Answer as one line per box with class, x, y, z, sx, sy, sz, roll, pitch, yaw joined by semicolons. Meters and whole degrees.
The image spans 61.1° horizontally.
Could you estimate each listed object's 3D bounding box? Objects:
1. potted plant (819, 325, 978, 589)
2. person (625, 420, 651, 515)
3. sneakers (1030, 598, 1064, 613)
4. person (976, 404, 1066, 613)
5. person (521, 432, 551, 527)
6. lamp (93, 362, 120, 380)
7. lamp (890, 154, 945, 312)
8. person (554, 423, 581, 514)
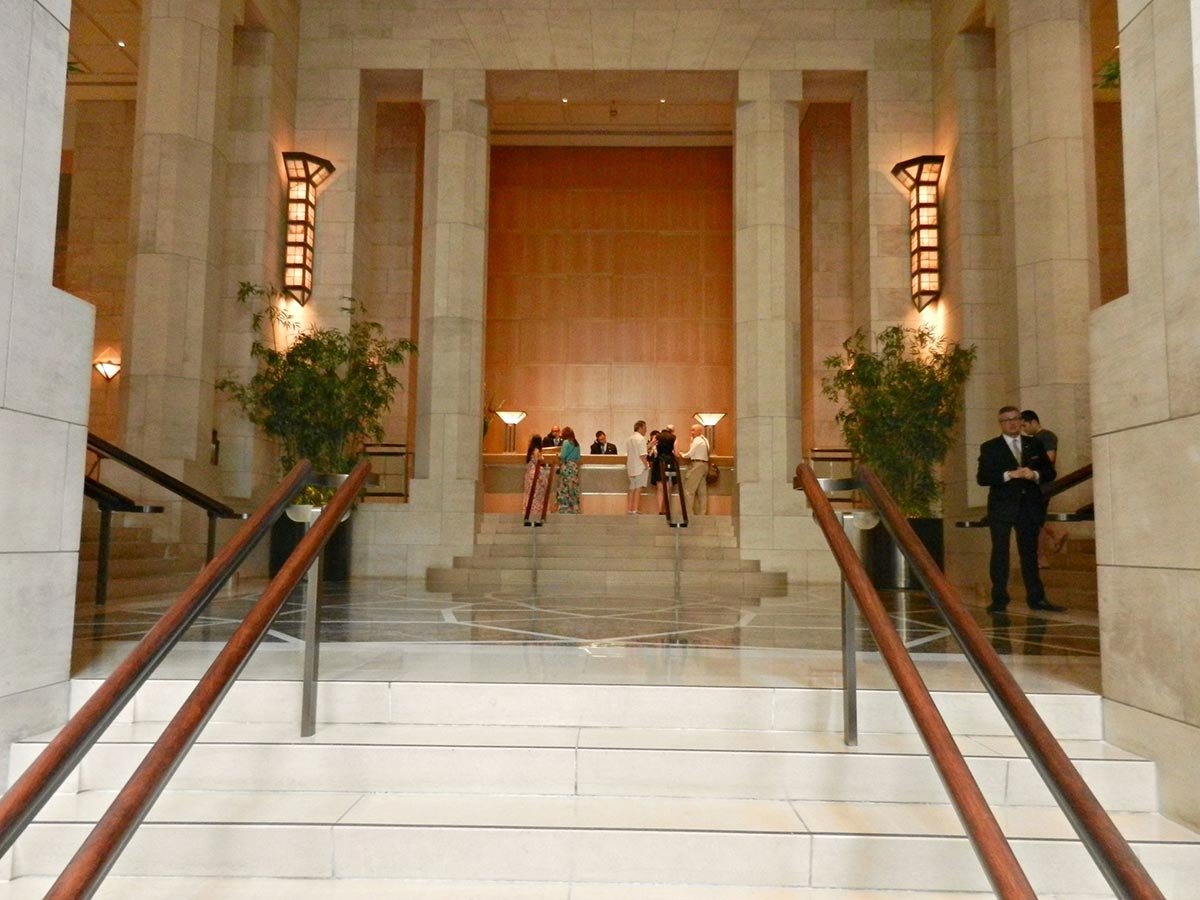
potted plant;3.551;-0.086;11.991;1.635;3.102;2.691;-1;-2;15
person;0.575;0.273;15.376;0.313;1.345;0.896;-1;-2;1
sneakers;3.659;1.279;8.348;0.276;0.113;0.096;-5;-6;34
person;3.575;0.482;8.688;0.560;1.721;1.238;-1;-2;23
person;-0.891;0.426;14.022;0.375;1.207;1.222;0;-2;-4
lamp;-8.224;-1.292;16.861;0.306;0.312;0.133;0;-2;-6
lamp;4.281;-2.872;13.582;0.413;2.024;0.641;2;-3;-45
person;-0.465;0.298;14.518;0.302;1.175;0.604;0;-2;-4
